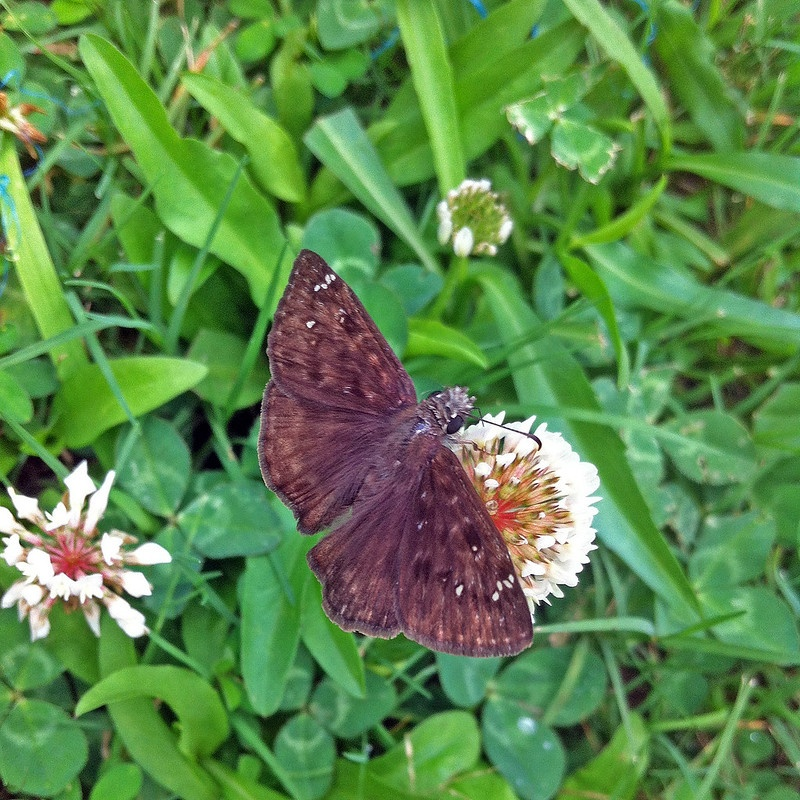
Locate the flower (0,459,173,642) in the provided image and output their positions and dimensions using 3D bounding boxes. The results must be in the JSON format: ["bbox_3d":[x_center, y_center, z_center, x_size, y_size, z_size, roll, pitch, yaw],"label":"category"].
[{"bbox_3d":[-0.635,0.319,1.693,0.351,0.289,0.365,-4,85,0],"label":"flower"}]
